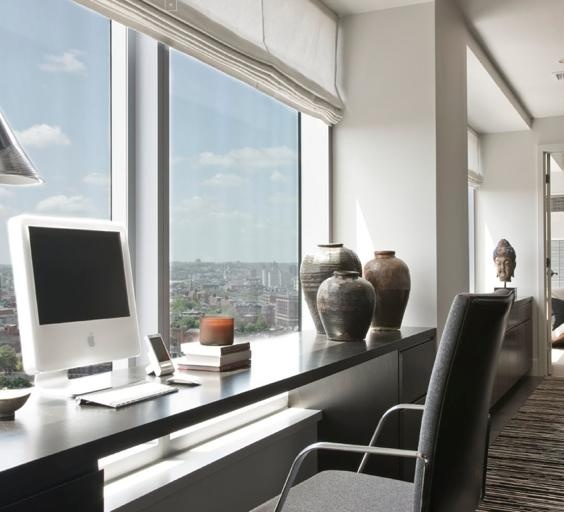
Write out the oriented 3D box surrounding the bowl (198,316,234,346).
[{"bbox_3d":[-0.218,0.246,1.556,0.088,0.076,0.095,1,-5,0],"label":"bowl"}]
